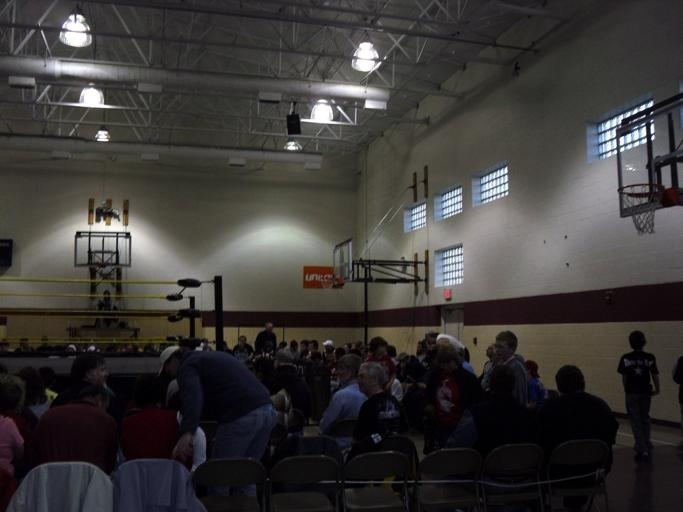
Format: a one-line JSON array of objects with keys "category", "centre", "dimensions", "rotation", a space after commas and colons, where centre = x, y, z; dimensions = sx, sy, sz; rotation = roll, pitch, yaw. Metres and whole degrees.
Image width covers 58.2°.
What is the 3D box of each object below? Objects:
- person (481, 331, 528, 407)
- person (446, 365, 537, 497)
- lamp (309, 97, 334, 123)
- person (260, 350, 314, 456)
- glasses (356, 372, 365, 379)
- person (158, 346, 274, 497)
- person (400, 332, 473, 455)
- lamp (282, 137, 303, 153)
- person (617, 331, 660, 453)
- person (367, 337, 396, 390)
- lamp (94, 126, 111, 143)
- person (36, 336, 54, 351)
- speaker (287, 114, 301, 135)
[{"category": "person", "centre": [2.202, 1.609, 8.157], "dimensions": [0.438, 1.073, 0.656], "rotation": [1, -4, -17]}, {"category": "person", "centre": [1.749, 1.781, 6.586], "dimensions": [1.150, 1.309, 0.654], "rotation": [-4, 7, 9]}, {"category": "lamp", "centre": [-0.588, -4.161, 17.166], "dimensions": [0.551, 0.743, 1.187], "rotation": [0, -6, 6]}, {"category": "person", "centre": [-0.630, 2.167, 8.924], "dimensions": [0.784, 1.369, 0.802], "rotation": [7, -13, 27]}, {"category": "glasses", "centre": [0.211, 1.329, 6.872], "dimensions": [0.069, 0.081, 0.054], "rotation": [13, 5, 22]}, {"category": "person", "centre": [-1.355, 1.893, 6.368], "dimensions": [1.144, 1.977, 0.988], "rotation": [-2, -12, 4]}, {"category": "person", "centre": [1.265, 2.068, 7.874], "dimensions": [0.951, 2.164, 0.694], "rotation": [1, 18, -3]}, {"category": "lamp", "centre": [-1.704, -3.921, 21.659], "dimensions": [0.567, 0.301, 0.873], "rotation": [2, 6, 2]}, {"category": "person", "centre": [4.652, 2.140, 9.571], "dimensions": [0.622, 1.946, 0.388], "rotation": [3, -6, -21]}, {"category": "person", "centre": [0.627, 1.836, 10.523], "dimensions": [0.389, 0.906, 0.367], "rotation": [-9, 4, -26]}, {"category": "lamp", "centre": [-7.588, -3.932, 19.431], "dimensions": [0.369, 0.525, 0.759], "rotation": [3, -7, -26]}, {"category": "person", "centre": [-5.673, 1.663, 11.729], "dimensions": [0.237, 0.256, 2.837], "rotation": [3, -7, -25]}, {"category": "speaker", "centre": [-1.307, -3.632, 16.577], "dimensions": [0.324, 0.593, 0.490], "rotation": [0, -6, 6]}]
